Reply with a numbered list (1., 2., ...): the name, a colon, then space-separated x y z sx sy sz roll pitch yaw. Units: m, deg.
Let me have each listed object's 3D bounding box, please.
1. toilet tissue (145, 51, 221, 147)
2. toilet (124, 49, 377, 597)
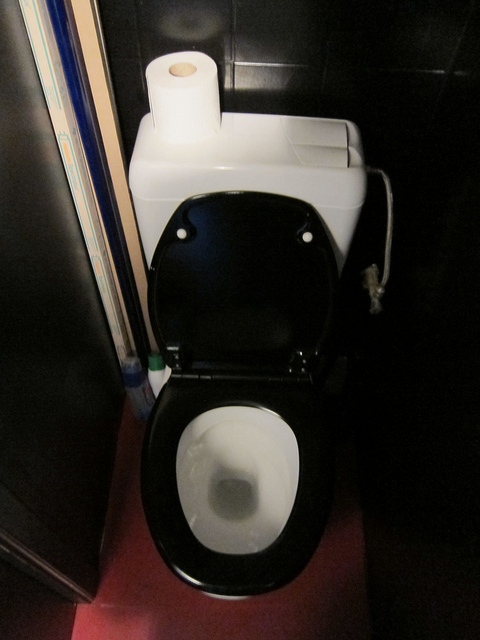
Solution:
1. toilet tissue: -0.098 -0.368 0.892 0.114 0.134 0.143 -15 49 -8
2. toilet: -0.014 -0.003 0.876 0.423 0.608 0.690 7 48 9
